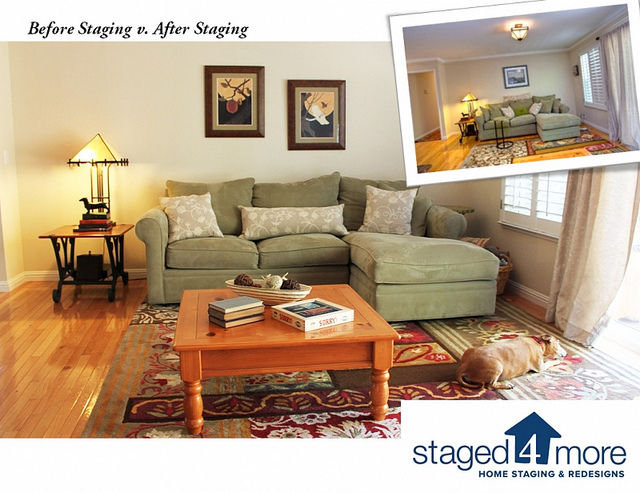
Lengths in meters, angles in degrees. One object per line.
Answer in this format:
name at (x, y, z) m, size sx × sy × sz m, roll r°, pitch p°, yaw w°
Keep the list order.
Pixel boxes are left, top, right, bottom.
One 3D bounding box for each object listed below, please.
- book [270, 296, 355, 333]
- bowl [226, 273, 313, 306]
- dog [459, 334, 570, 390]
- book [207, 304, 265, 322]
book at (-0.039, 0.343, 2.426) m, size 0.389 × 0.085 × 0.372 m, roll -11°, pitch 15°, yaw -34°
bowl at (-0.292, 0.232, 2.575) m, size 0.342 × 0.106 × 0.222 m, roll 2°, pitch 3°, yaw 8°
dog at (1.149, 0.654, 2.706) m, size 0.592 × 0.196 × 0.284 m, roll -6°, pitch 3°, yaw -19°
book at (-0.418, 0.332, 2.311) m, size 0.272 × 0.062 × 0.105 m, roll -5°, pitch 13°, yaw -14°
